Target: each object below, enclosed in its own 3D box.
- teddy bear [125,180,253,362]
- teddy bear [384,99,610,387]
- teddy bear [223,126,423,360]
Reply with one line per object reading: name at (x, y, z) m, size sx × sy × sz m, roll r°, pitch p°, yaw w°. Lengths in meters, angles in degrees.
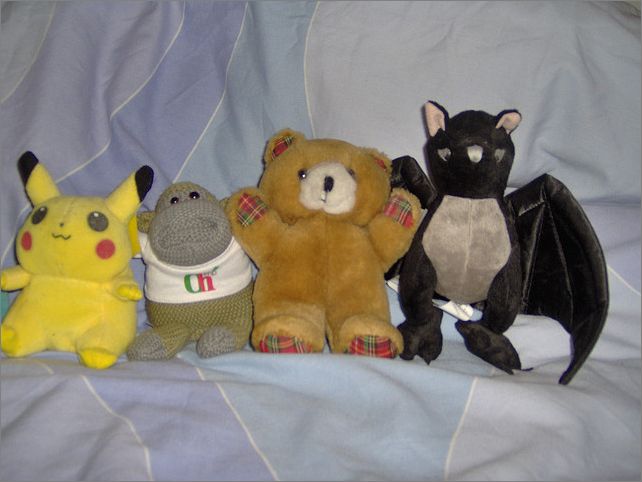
teddy bear at (-0.331, 0.087, 1.809) m, size 0.435 × 0.493 × 0.373 m, roll -1°, pitch 17°, yaw -12°
teddy bear at (0.460, 0.028, 1.735) m, size 0.581 × 0.616 × 0.204 m, roll 7°, pitch 11°, yaw 16°
teddy bear at (-0.004, 0.000, 1.704) m, size 0.502 × 0.512 × 0.346 m, roll 3°, pitch 18°, yaw 9°
